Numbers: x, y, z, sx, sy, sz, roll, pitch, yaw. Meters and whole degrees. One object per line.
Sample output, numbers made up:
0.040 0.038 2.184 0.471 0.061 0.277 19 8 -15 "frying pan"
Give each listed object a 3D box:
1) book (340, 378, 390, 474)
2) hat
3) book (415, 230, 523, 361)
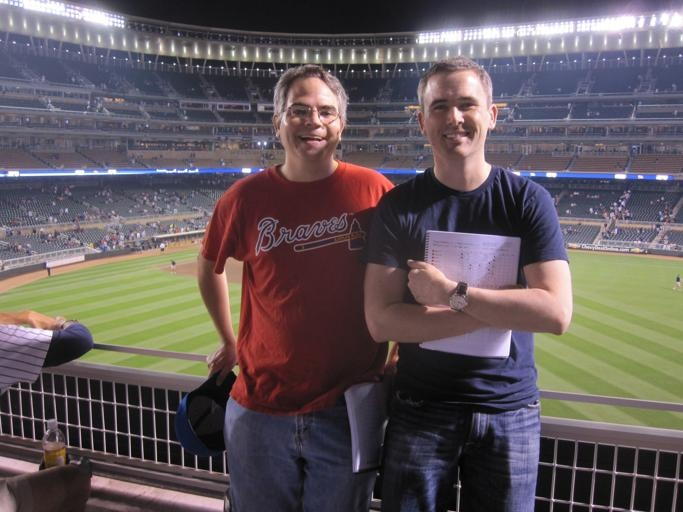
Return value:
0.186 1.245 3.528 0.086 0.533 0.435 -15 -24 36 "book"
-1.088 1.293 4.128 0.324 0.432 0.618 -38 20 53 "hat"
0.917 0.235 3.225 0.806 0.812 0.194 1 -7 4 "book"
